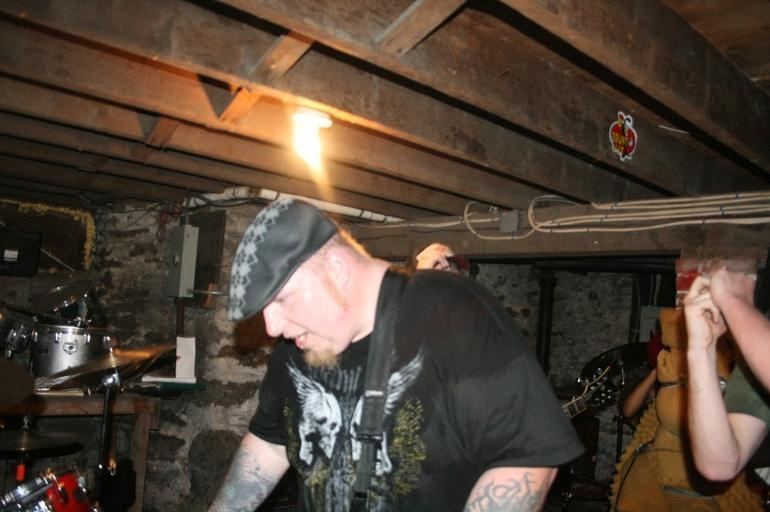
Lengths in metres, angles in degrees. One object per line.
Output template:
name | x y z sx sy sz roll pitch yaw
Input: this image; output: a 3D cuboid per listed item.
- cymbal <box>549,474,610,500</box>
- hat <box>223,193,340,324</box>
cymbal | 2.111 2.499 6.723 0.674 0.155 0.467 8 -8 -33
hat | -0.497 -0.016 2.860 0.576 0.292 0.408 -39 16 -6
